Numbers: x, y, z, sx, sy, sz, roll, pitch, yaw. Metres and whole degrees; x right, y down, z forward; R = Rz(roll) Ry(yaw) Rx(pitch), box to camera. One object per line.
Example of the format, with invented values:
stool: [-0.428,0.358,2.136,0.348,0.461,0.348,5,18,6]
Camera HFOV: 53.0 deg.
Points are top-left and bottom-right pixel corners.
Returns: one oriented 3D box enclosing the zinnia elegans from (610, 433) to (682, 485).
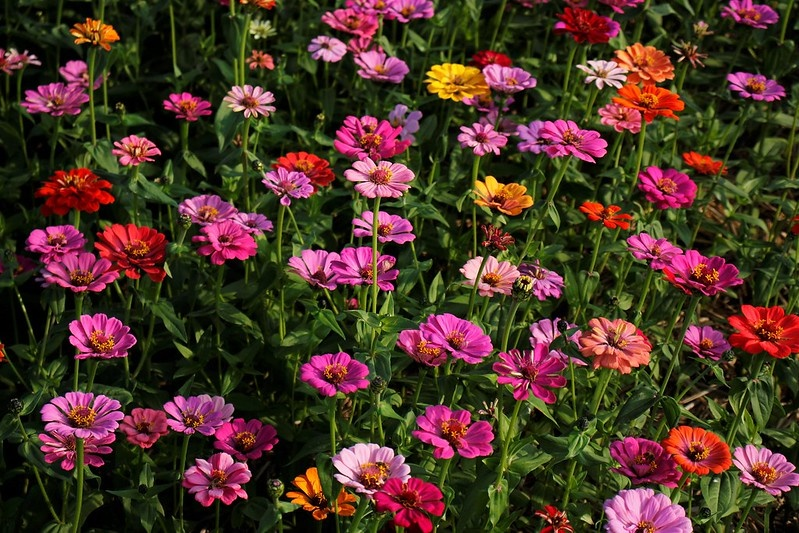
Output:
zinnia elegans: [1.161,0.985,3.920,0.278,0.262,0.137,-7,86,-51]

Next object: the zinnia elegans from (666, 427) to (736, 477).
zinnia elegans: [1.411,0.900,3.837,0.346,0.106,0.227,15,50,-6]

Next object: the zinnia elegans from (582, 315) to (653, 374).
zinnia elegans: [1.025,0.408,3.836,0.354,0.189,0.357,-14,20,-37]

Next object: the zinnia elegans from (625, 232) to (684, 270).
zinnia elegans: [1.325,-0.095,4.269,0.274,0.256,0.094,19,77,-22]

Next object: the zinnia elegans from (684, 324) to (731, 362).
zinnia elegans: [1.663,0.440,4.366,0.232,0.099,0.264,-4,24,-16]
